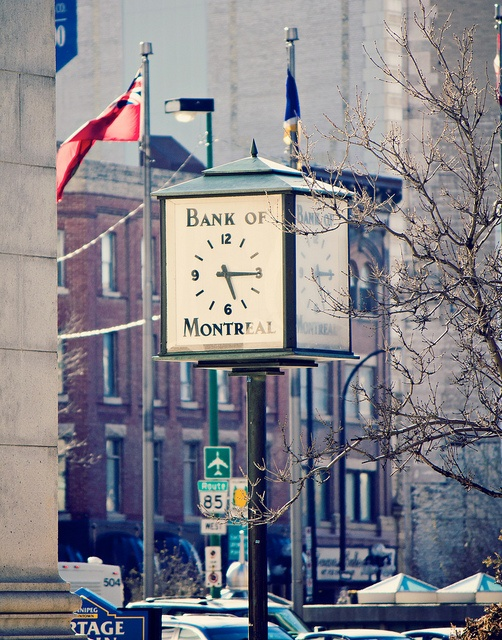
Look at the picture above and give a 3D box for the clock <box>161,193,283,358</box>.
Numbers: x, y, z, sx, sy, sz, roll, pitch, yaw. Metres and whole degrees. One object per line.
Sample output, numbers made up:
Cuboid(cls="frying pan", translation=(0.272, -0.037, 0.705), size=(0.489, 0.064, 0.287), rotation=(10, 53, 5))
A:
Cuboid(cls="clock", translation=(-0.397, -0.591, 41.395), size=(1.748, 2.173, 0.207), rotation=(-2, -8, 7))
